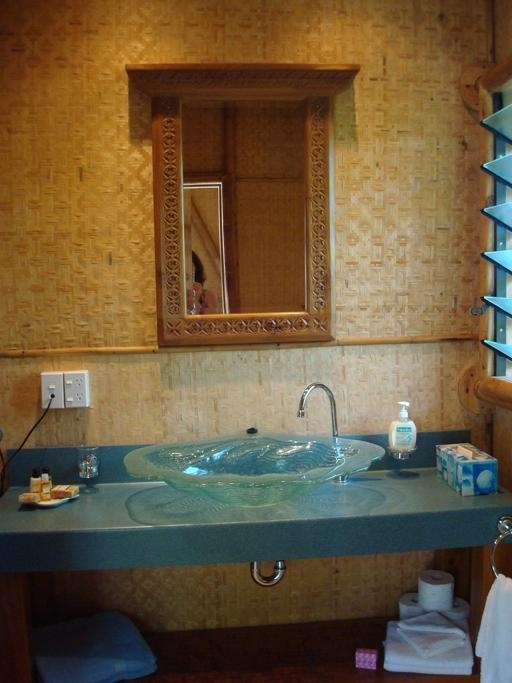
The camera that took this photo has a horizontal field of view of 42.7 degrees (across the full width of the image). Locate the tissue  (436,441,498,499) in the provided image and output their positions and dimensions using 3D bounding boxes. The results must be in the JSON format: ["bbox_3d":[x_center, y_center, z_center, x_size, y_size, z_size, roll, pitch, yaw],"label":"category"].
[{"bbox_3d":[0.604,0.357,1.871,0.106,0.096,0.189,-2,5,-6],"label":"tissue "}]

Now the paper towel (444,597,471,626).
[{"bbox_3d":[0.641,0.849,2.069,0.071,0.038,0.066,-1,-3,1],"label":"paper towel"}]

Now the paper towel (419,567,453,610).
[{"bbox_3d":[0.581,0.779,2.093,0.103,0.071,0.105,4,6,40],"label":"paper towel"}]

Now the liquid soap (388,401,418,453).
[{"bbox_3d":[0.433,0.250,1.943,0.079,0.155,0.062,-5,11,-6],"label":"liquid soap"}]

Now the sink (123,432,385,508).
[{"bbox_3d":[-0.006,0.339,1.776,0.689,0.107,0.417,-2,9,10],"label":"sink"}]

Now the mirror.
[{"bbox_3d":[-0.068,-0.428,1.960,0.970,1.034,0.254,0,-6,-5],"label":"mirror"}]

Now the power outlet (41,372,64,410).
[{"bbox_3d":[-0.612,0.150,1.977,0.073,0.116,0.030,-7,11,-14],"label":"power outlet"}]

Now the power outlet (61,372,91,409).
[{"bbox_3d":[-0.544,0.145,1.975,0.116,0.138,0.099,-1,0,-10],"label":"power outlet"}]

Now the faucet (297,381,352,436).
[{"bbox_3d":[0.188,0.208,1.961,0.121,0.210,0.239,-3,10,6],"label":"faucet"}]

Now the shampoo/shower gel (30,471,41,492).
[{"bbox_3d":[-0.601,0.375,1.782,0.028,0.060,0.037,-7,11,-16],"label":"shampoo/shower gel"}]

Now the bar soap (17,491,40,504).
[{"bbox_3d":[-0.624,0.417,1.785,0.053,0.031,0.034,1,2,-1],"label":"bar soap"}]

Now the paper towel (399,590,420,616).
[{"bbox_3d":[0.492,0.832,2.103,0.068,0.024,0.064,-3,3,-29],"label":"paper towel"}]
